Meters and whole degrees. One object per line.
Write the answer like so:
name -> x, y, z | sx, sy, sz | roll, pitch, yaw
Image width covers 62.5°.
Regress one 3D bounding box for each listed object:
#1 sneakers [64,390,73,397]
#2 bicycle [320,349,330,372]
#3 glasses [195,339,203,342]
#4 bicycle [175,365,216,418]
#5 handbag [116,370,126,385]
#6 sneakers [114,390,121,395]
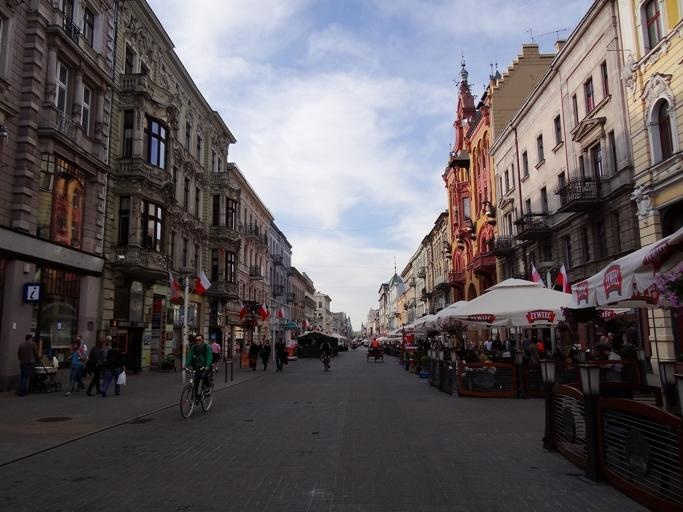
sneakers -> -9.696, 4.876, 19.971 | 0.131, 0.147, 0.329 | 4, -18, 3
bicycle -> -0.978, 6.457, 34.929 | 0.665, 1.010, 1.509 | -2, -8, -3
glasses -> -4.228, 2.492, 16.655 | 0.158, 0.111, 0.250 | 2, -16, -12
bicycle -> -4.167, 3.958, 16.304 | 0.627, 1.417, 2.355 | 0, -15, -5
handbag -> -7.826, 4.292, 19.959 | 0.214, 0.491, 0.245 | 6, -15, -30
sneakers -> -7.946, 4.845, 19.992 | 0.164, 0.265, 0.154 | -2, -6, -4
